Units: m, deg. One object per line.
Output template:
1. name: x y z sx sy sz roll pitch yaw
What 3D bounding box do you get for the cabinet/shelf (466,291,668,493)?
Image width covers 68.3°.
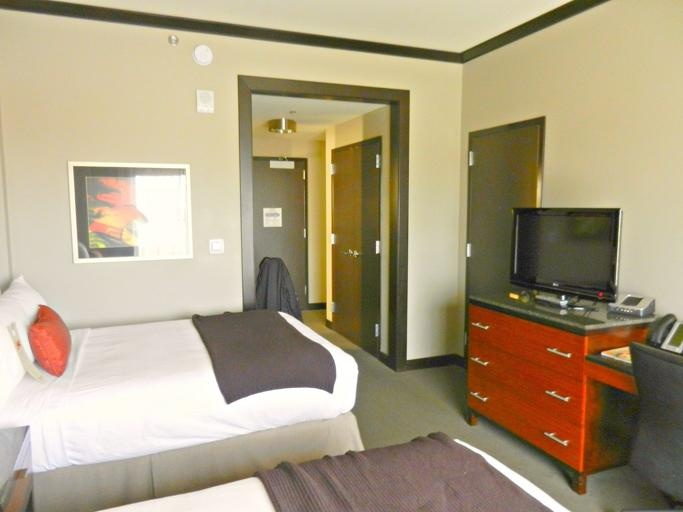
1. cabinet/shelf: 1.558 0.935 3.763 0.750 1.034 1.230 -3 5 -23

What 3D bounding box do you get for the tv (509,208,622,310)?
1. tv: 1.568 0.023 3.463 0.094 0.537 0.687 -6 8 -32

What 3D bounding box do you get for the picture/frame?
1. picture/frame: -1.748 -0.367 4.084 0.855 0.746 0.029 -2 2 -24
